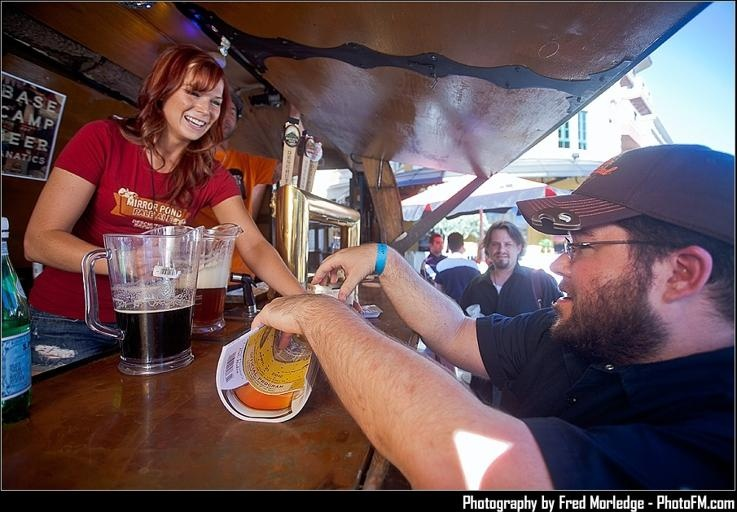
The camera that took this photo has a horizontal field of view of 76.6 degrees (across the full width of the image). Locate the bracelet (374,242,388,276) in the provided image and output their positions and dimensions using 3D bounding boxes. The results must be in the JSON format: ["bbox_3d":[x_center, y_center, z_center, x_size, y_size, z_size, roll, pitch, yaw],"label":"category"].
[{"bbox_3d":[0.044,0.009,1.617,0.036,0.087,0.079,10,1,-9],"label":"bracelet"}]

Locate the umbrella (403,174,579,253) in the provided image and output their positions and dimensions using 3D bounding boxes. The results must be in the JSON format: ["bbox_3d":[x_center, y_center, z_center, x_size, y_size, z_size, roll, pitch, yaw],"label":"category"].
[{"bbox_3d":[0.852,-0.333,3.405,0.927,0.294,0.908,-10,-7,7],"label":"umbrella"}]

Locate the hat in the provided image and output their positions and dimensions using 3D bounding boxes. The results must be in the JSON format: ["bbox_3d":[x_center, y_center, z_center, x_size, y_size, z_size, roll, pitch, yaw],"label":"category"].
[{"bbox_3d":[0.698,-0.131,1.234,0.395,0.186,0.249,-2,-4,42],"label":"hat"}]

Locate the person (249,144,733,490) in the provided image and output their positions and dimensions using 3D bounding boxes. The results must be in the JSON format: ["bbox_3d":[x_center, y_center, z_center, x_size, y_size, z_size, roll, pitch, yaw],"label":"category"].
[{"bbox_3d":[0.356,0.095,1.223,0.895,0.784,0.748,4,2,-3],"label":"person"}]
